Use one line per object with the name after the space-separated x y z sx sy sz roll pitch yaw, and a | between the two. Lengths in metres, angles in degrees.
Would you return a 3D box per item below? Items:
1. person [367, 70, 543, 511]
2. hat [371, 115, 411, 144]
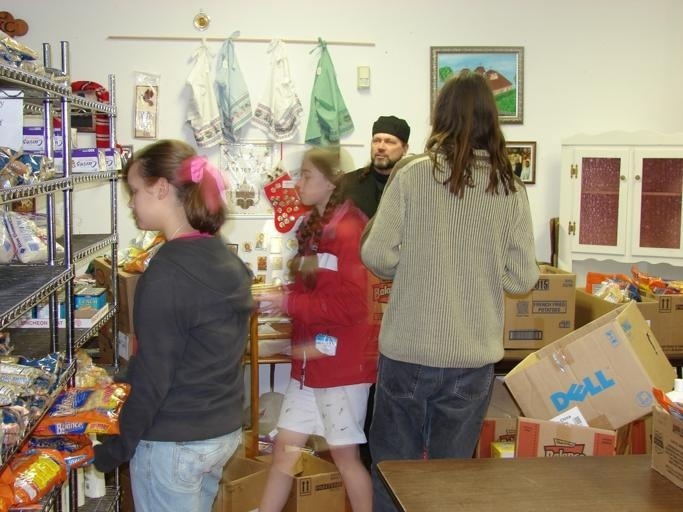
0.396 0.141 1.924 0.636 1.552 0.268 -1 7 2 | person
0.351 -0.809 3.722 0.195 0.129 0.200 26 5 43 | hat
